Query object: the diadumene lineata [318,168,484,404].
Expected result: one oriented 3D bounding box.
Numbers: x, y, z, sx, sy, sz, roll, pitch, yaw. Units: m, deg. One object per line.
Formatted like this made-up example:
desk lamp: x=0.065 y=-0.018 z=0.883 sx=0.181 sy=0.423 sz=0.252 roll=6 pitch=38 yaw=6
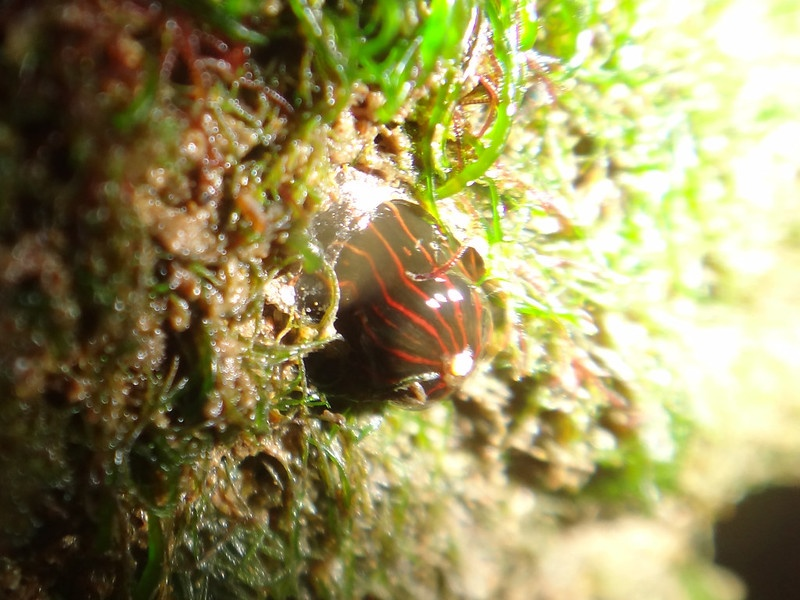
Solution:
diadumene lineata: x=0.016 y=0.024 z=1.477 sx=0.343 sy=0.446 sz=0.122 roll=22 pitch=-2 yaw=3
